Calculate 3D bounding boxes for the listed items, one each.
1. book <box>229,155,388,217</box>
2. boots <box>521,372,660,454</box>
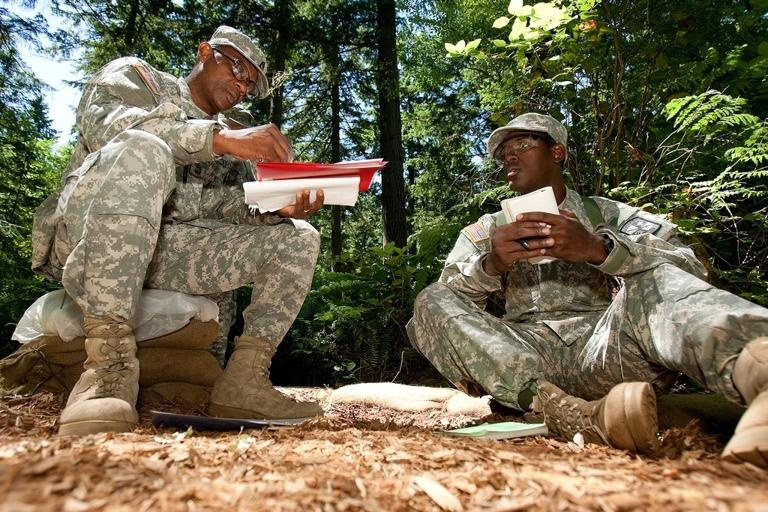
[{"bbox_3d":[-0.487,-0.485,3.974,0.928,0.348,0.227,0,5,-8],"label":"book"},{"bbox_3d":[1.232,0.950,3.644,0.657,0.296,0.924,35,-37,-26],"label":"boots"}]
